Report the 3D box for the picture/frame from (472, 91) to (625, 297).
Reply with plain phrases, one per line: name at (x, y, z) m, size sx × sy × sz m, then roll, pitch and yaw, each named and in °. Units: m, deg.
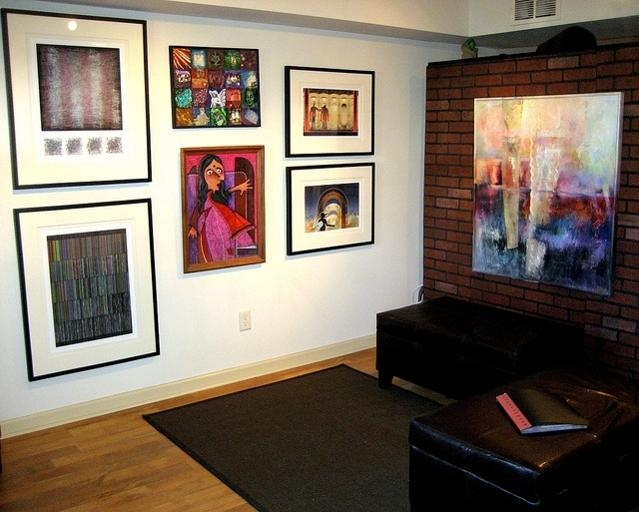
picture/frame at (1.380, -0.401, 3.241) m, size 0.106 × 1.168 × 0.987 m, roll -12°, pitch 16°, yaw -31°
